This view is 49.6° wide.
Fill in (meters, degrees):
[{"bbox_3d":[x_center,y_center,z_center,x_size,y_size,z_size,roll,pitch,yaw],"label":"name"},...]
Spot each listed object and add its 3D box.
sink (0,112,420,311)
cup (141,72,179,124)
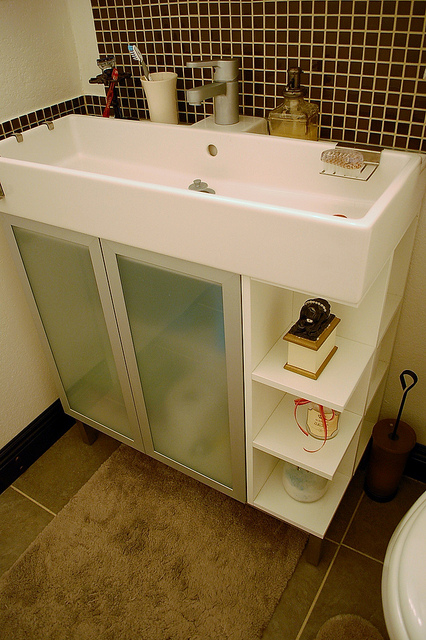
[{"bbox_3d":[-0.050,-0.297,1.051,0.962,0.223,0.521,19,41,30],"label":"sink"},{"bbox_3d":[-0.141,-0.568,1.222,0.100,0.135,0.074,-25,45,-34],"label":"cup"}]
